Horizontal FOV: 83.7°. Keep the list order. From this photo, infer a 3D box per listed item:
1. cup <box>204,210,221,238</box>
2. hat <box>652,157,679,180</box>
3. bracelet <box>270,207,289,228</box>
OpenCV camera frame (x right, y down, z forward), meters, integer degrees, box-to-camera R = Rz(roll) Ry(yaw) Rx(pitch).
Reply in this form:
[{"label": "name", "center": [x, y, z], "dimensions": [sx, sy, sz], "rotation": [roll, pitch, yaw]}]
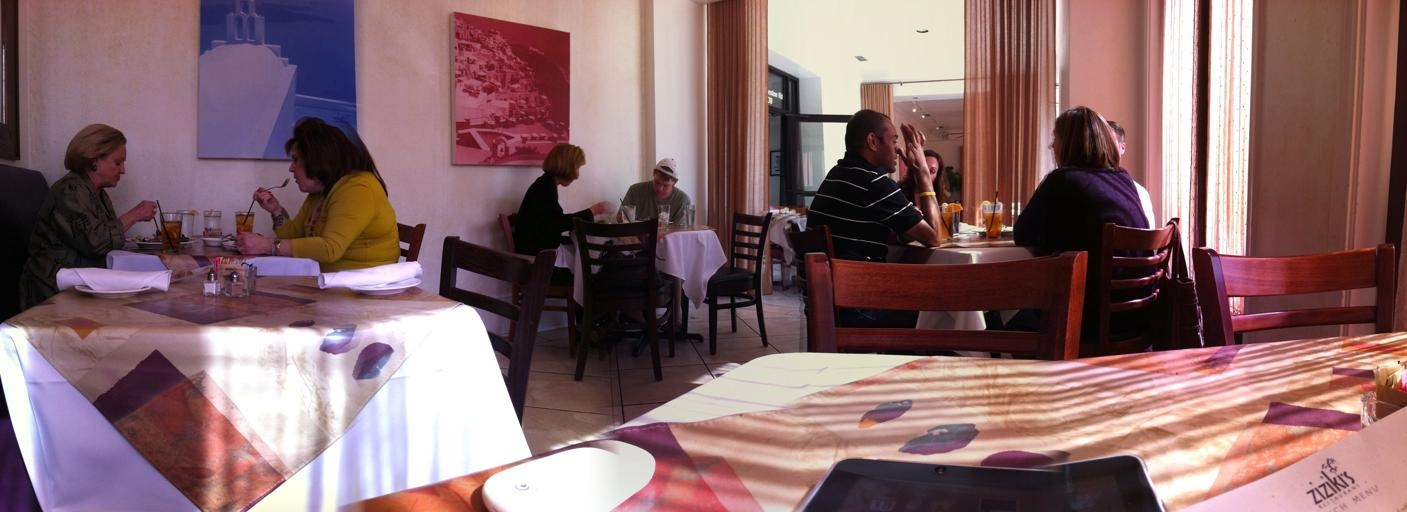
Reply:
[{"label": "cup", "center": [-4.670, -0.301, 7.415], "dimensions": [0.140, 0.226, 0.163], "rotation": [-5, 10, -29]}, {"label": "hat", "center": [-0.449, -1.059, 9.598], "dimensions": [0.261, 0.188, 0.357], "rotation": [22, 2, -3]}, {"label": "bracelet", "center": [-4.159, -0.380, 7.728], "dimensions": [0.243, 0.180, 0.259], "rotation": [1, 0, -36]}]
